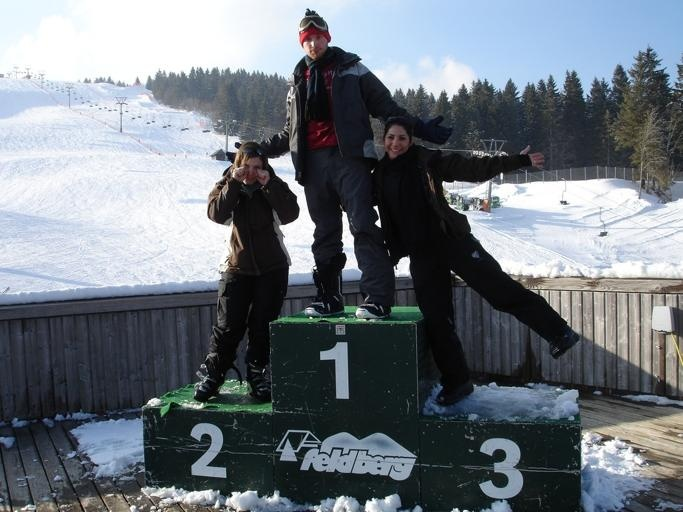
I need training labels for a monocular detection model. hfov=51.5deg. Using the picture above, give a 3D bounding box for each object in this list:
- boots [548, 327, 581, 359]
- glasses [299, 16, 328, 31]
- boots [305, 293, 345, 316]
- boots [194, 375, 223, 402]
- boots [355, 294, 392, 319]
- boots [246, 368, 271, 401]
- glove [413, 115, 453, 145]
[{"bbox_3d":[2.009,0.783,6.461,0.257,0.258,0.185,-5,10,-17],"label":"boots"},{"bbox_3d":[-0.268,-2.189,6.625,0.252,0.143,0.147,-3,10,-5],"label":"glasses"},{"bbox_3d":[-0.141,0.475,6.665,0.413,0.200,0.152,0,-1,-15],"label":"boots"},{"bbox_3d":[-1.274,1.261,6.752,0.126,0.166,0.348,19,11,-3],"label":"boots"},{"bbox_3d":[0.275,0.472,6.456,0.134,0.191,0.410,0,-14,39],"label":"boots"},{"bbox_3d":[-0.778,1.201,6.796,0.395,0.310,0.134,6,-1,45],"label":"boots"},{"bbox_3d":[0.843,-1.167,6.555,0.342,0.256,0.419,0,11,8],"label":"glove"}]
